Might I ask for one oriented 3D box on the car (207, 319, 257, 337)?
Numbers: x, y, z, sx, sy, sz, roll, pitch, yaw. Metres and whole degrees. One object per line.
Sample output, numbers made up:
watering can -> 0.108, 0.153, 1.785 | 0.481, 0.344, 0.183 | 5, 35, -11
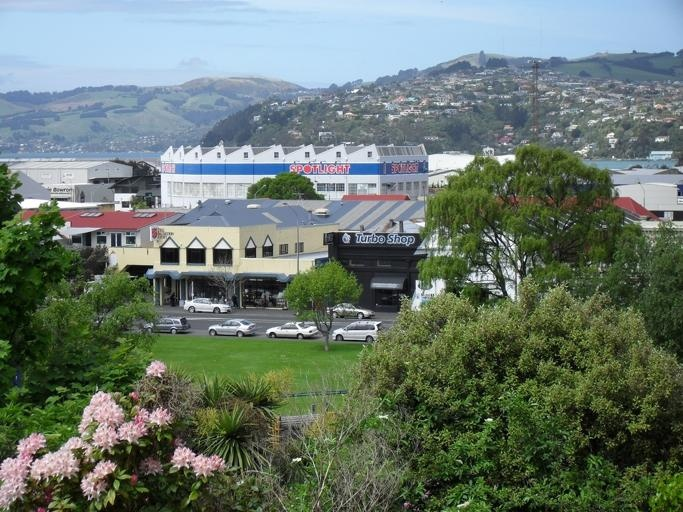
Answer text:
car -> -7.400, 4.879, 71.929 | 2.708, 1.011, 1.316 | 3, 2, 11

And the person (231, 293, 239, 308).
person -> -8.566, 3.552, 85.982 | 0.480, 0.975, 0.718 | 4, 4, 31

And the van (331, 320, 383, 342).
van -> 1.218, 4.943, 69.756 | 3.144, 1.465, 2.017 | 3, 2, 12

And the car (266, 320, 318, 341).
car -> -3.227, 5.028, 71.179 | 2.860, 1.031, 1.411 | 3, 6, 11

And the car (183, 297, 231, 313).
car -> -10.496, 3.909, 82.496 | 2.993, 0.985, 1.428 | 0, 4, 16

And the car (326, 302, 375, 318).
car -> 0.949, 4.112, 78.158 | 2.921, 0.983, 1.379 | 0, 6, 10
